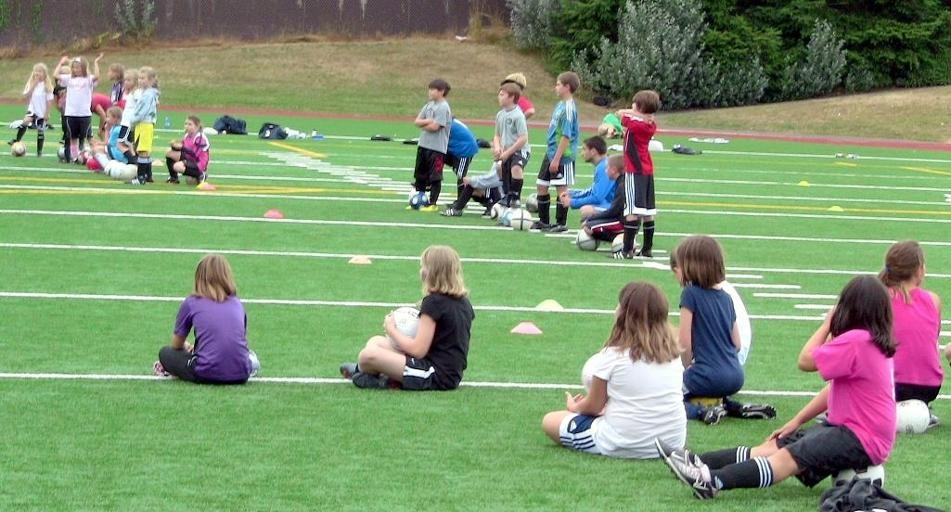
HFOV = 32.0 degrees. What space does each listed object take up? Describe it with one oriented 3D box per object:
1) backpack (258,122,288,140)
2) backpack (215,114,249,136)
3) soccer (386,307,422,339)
[{"bbox_3d":[-7.214,-4.495,59.626,0.725,0.361,0.871,3,10,9],"label":"backpack"},{"bbox_3d":[-8.759,-4.756,60.270,0.819,0.397,0.959,1,12,1],"label":"backpack"},{"bbox_3d":[-1.651,1.597,39.675,0.675,0.657,0.382,3,8,-3],"label":"soccer"}]
